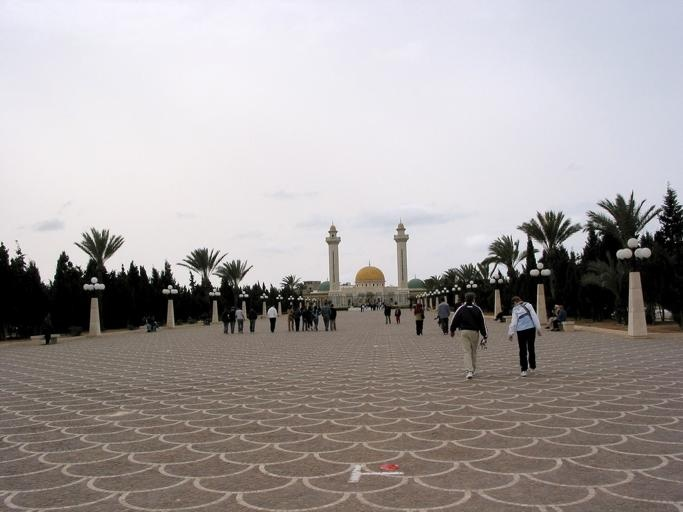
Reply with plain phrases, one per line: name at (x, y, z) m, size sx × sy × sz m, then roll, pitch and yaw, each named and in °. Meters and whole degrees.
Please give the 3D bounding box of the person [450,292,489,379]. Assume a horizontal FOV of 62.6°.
person at (2.434, 1.508, 10.746) m, size 0.636 × 1.572 × 0.892 m, roll -2°, pitch -5°, yaw 13°

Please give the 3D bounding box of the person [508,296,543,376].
person at (3.653, 1.555, 11.201) m, size 0.568 × 1.507 × 1.578 m, roll -3°, pitch -5°, yaw 18°

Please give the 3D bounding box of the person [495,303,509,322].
person at (9.354, 3.382, 32.874) m, size 0.562 × 0.857 × 1.392 m, roll -9°, pitch 14°, yaw 23°

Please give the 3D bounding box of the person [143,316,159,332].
person at (-11.995, 4.297, 35.136) m, size 0.680 × 0.967 × 1.380 m, roll -1°, pitch 18°, yaw -7°

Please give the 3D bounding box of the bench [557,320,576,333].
bench at (9.211, 2.897, 22.953) m, size 0.423 × 0.411 × 0.634 m, roll 0°, pitch -6°, yaw -4°

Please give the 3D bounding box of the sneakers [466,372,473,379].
sneakers at (2.365, 2.199, 10.386) m, size 0.126 × 0.131 × 0.267 m, roll -2°, pitch -5°, yaw 11°

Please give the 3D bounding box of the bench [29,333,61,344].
bench at (-12.900, 3.645, 24.410) m, size 1.103 × 0.391 × 1.240 m, roll 3°, pitch -7°, yaw -37°
